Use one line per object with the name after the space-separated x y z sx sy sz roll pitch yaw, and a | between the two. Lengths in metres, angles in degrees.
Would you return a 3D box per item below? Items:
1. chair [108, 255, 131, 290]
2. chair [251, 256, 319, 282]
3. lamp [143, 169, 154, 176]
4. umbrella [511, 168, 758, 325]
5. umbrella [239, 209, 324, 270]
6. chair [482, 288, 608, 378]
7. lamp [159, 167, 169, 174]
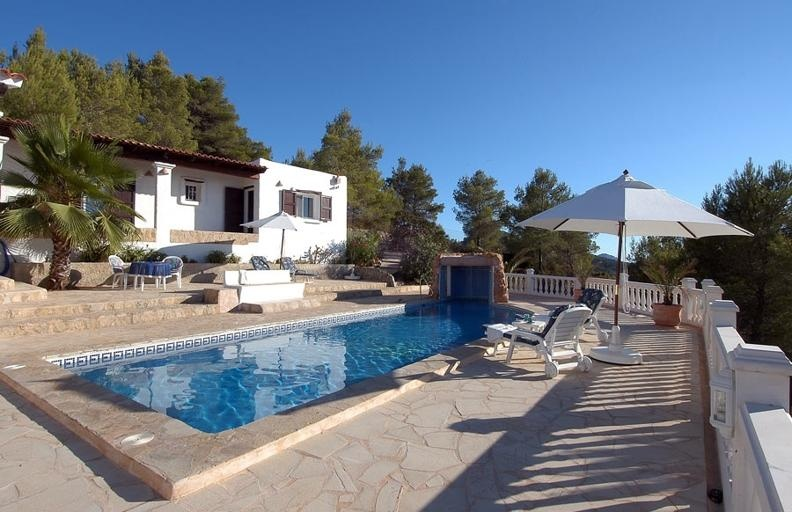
-9.694 0.515 17.194 0.611 1.201 1.661 1 -1 -31 | chair
-4.822 0.639 20.106 2.058 0.862 1.262 3 1 31 | chair
-10.577 -3.590 21.044 0.326 0.239 0.125 1 -1 -28 | lamp
5.999 -0.145 13.336 5.095 3.765 5.171 0 -1 14 | umbrella
-5.132 -1.186 20.648 2.736 2.364 2.719 1 -6 -2 | umbrella
3.746 1.879 11.719 1.623 2.014 3.076 0 0 -27 | chair
-9.510 -3.509 20.135 0.416 0.247 0.253 1 -1 -41 | lamp
